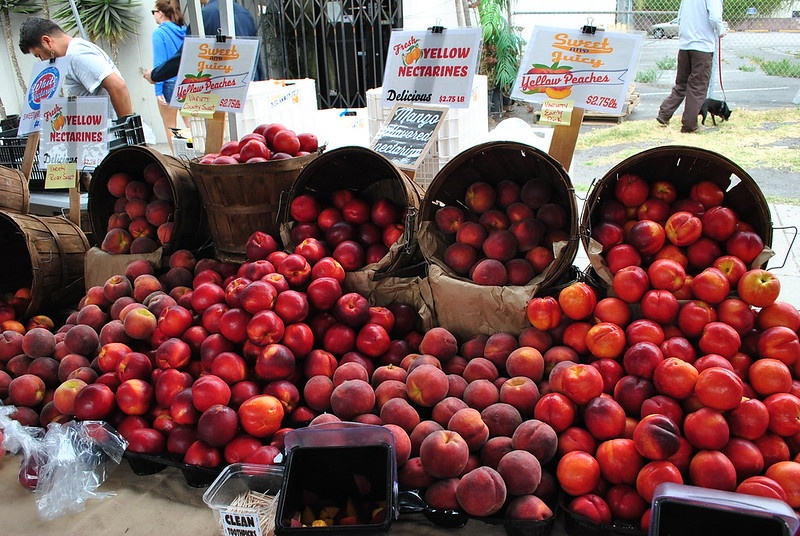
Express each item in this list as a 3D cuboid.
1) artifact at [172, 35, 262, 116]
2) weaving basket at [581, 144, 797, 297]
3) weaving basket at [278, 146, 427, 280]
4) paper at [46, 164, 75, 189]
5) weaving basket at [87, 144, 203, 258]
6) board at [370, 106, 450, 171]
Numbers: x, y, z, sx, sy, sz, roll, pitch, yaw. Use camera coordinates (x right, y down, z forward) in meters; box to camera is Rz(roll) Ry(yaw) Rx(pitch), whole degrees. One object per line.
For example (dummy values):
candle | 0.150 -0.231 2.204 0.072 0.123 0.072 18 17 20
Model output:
artifact | -1.326 -1.376 3.774 0.627 0.505 0.262 9 20 20
weaving basket | 1.616 -0.263 3.083 0.920 0.937 0.652 18 6 24
weaving basket | -0.204 -0.338 3.539 0.880 0.827 0.694 16 12 11
paper | -2.683 -0.735 4.189 0.181 0.162 0.027 2 12 -12
weaving basket | -1.665 -0.587 3.911 0.780 0.855 0.650 20 28 28
board | 0.074 -0.874 3.427 0.464 0.473 0.123 28 1 33
